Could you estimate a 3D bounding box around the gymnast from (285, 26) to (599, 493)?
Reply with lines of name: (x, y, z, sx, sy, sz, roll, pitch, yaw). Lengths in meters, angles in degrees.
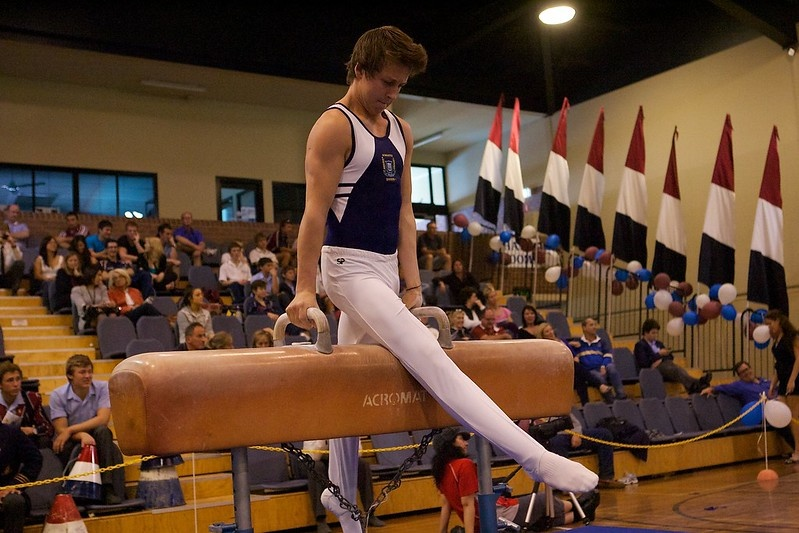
gymnast: (0.172, 0.232, 5.532, 1.233, 4.253, 2.648, -1, 3, -40)

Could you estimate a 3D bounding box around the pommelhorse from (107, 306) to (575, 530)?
pommelhorse: (-0.567, 1.092, 6.819, 2.581, 1.811, 2.575, 1, -5, -4)

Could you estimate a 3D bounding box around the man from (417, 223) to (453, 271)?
man: (0.712, -0.300, 15.720, 0.540, 1.254, 0.687, 4, -7, -35)

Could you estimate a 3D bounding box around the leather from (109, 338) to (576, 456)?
leather: (-0.193, 1.073, 5.992, 3.441, 0.858, 0.719, 0, -36, -21)
